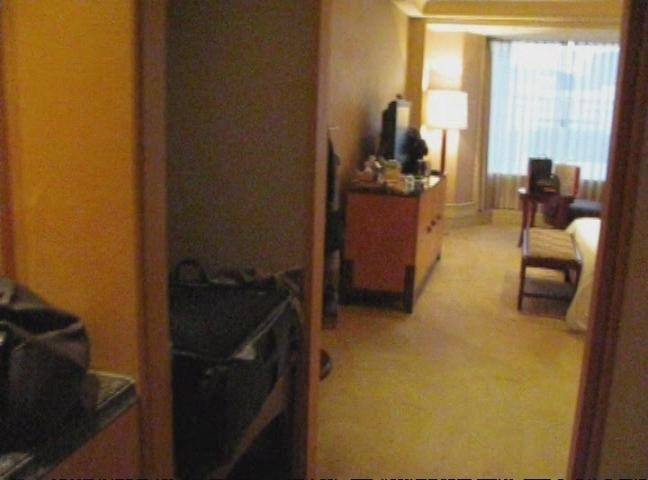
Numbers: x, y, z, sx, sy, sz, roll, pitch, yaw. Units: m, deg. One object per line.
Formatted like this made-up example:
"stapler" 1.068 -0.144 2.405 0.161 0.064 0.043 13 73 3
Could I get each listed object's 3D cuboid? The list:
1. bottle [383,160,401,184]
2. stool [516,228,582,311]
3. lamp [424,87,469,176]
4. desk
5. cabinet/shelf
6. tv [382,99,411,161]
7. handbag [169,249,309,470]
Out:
"bottle" 0.464 -0.475 3.863 0.136 0.140 0.106 -2 6 -18
"stool" 1.608 0.219 4.023 0.202 0.258 0.504 1 16 11
"lamp" 1.228 -1.149 5.872 0.425 0.792 0.596 -6 14 -25
"desk" 2.137 -0.351 5.493 0.471 0.526 0.493 -2 7 28
"cabinet/shelf" 0.640 -0.078 4.421 0.453 0.737 1.449 2 11 18
"tv" 0.543 -0.797 4.223 0.210 0.641 0.332 2 21 6
"handbag" -0.276 0.342 1.627 0.178 0.576 0.418 7 4 35
